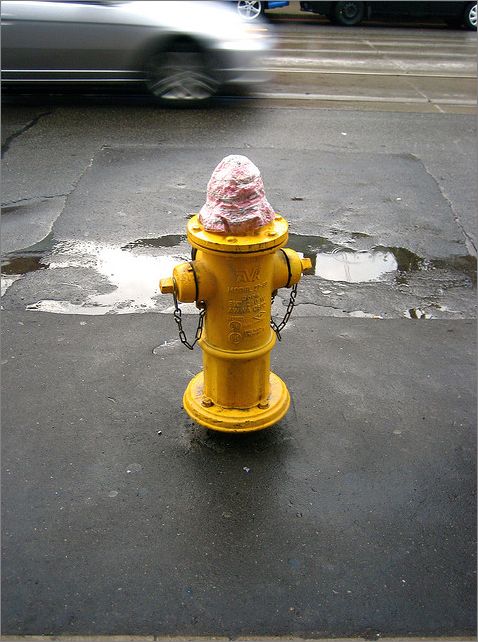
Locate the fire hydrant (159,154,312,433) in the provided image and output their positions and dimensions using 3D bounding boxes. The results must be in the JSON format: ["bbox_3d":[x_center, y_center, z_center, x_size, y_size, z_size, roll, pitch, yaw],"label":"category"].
[{"bbox_3d":[-0.018,-0.085,3.159,0.770,1.597,0.442,-1,30,-4],"label":"fire hydrant"}]
